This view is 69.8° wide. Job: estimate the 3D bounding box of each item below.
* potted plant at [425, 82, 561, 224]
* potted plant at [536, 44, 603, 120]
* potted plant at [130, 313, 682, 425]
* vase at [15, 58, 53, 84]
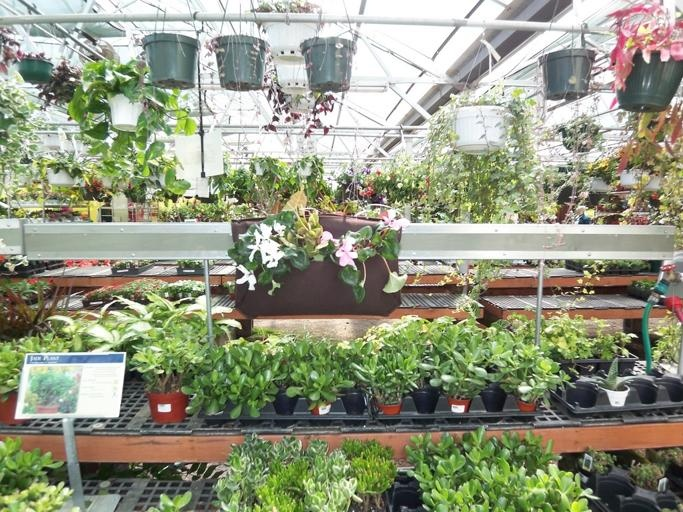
[{"bbox_3d":[1.011,-0.699,3.449,0.886,0.925,0.656,4,7,28],"label":"potted plant"},{"bbox_3d":[1.371,-1.065,2.992,0.350,0.237,0.334,-2,5,-23],"label":"potted plant"},{"bbox_3d":[0.364,0.635,2.687,2.383,0.446,0.511,1,-7,-6],"label":"potted plant"},{"bbox_3d":[-2.450,-1.477,3.904,0.273,0.159,0.302,-2,1,-22],"label":"vase"}]
